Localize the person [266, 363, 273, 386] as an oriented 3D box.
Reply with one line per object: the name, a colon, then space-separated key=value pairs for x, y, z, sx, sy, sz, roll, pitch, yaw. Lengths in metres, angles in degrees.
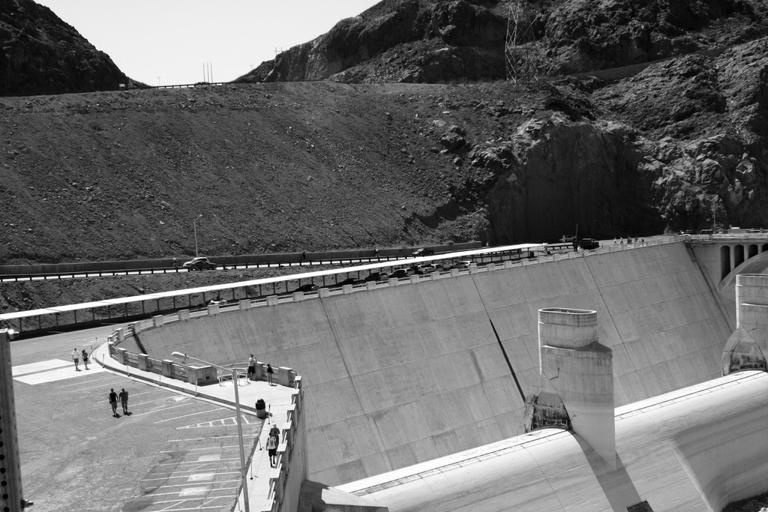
person: x=-7.771 y=7.999 z=53.984 sx=0.552 sy=1.236 sz=1.477 roll=-14 pitch=6 yaw=-10

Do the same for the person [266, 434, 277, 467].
person: x=-6.400 y=11.186 z=45.617 sx=0.681 sy=1.502 sz=1.279 roll=-13 pitch=6 yaw=-3

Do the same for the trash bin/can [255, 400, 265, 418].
trash bin/can: x=-7.688 y=9.432 z=49.322 sx=0.769 sy=1.150 sz=0.769 roll=-3 pitch=19 yaw=-14

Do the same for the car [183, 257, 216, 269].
car: x=-21.514 y=0.890 z=92.720 sx=2.737 sy=0.906 sz=1.762 roll=-1 pitch=8 yaw=-20

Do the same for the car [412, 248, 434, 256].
car: x=5.020 y=-0.371 z=100.313 sx=2.050 sy=0.903 sz=1.167 roll=-5 pitch=10 yaw=-26
